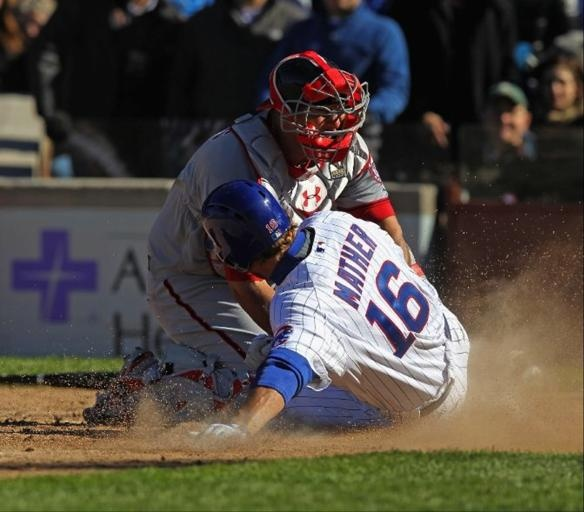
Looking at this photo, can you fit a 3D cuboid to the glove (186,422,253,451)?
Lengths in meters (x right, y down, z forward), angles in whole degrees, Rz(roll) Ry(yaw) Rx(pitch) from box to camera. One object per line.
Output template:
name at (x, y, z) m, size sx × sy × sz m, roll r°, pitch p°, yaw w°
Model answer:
glove at (-0.308, 0.849, 5.481) m, size 0.243 × 0.079 × 0.180 m, roll 6°, pitch -14°, yaw -28°

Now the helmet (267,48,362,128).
helmet at (0.159, -0.858, 6.407) m, size 0.462 × 0.340 × 0.358 m, roll 32°, pitch 7°, yaw 26°

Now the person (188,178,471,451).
person at (0.240, 0.389, 6.199) m, size 1.084 × 1.585 × 1.487 m, roll 2°, pitch -30°, yaw 24°

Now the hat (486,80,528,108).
hat at (1.637, -1.207, 9.028) m, size 0.140 × 0.194 × 0.363 m, roll 1°, pitch 7°, yaw -24°

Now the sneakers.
sneakers at (-0.896, 0.751, 6.591) m, size 0.261 × 0.535 × 0.298 m, roll 51°, pitch 5°, yaw 12°
